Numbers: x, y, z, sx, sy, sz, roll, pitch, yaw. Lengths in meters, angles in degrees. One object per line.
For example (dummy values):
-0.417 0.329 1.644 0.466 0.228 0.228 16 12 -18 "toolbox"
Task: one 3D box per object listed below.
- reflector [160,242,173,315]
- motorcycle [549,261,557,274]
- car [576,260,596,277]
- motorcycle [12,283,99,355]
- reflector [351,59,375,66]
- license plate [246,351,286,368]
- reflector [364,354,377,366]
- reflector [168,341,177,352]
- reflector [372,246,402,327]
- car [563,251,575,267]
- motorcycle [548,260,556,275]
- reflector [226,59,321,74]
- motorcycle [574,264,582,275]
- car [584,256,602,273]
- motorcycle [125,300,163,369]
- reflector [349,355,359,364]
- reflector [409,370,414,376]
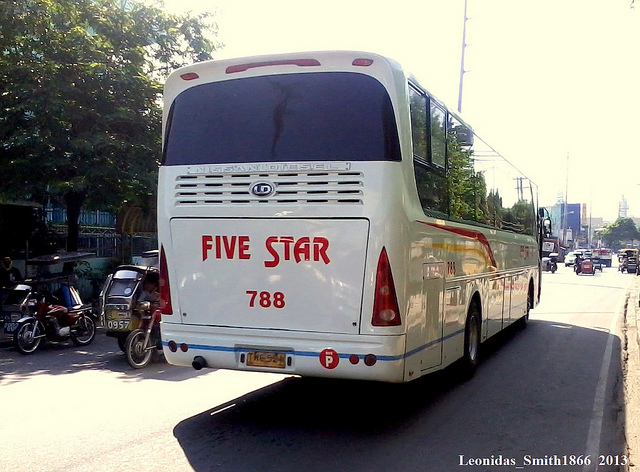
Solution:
-1.918 0.555 5.940 0.224 0.868 0.057 1 1 41 "reflector"
22.856 3.146 47.335 0.945 1.035 0.216 25 -15 -35 "motorcycle"
23.808 2.935 43.246 1.173 1.396 1.681 0 1 18 "car"
-6.133 1.915 11.138 0.944 1.476 2.191 -6 -5 17 "motorcycle"
0.473 -1.942 5.351 0.223 0.075 0.010 0 1 9 "reflector"
-0.612 1.417 5.438 0.465 0.162 0.048 0 1 17 "license plate"
0.535 1.349 5.139 0.133 0.128 0.010 0 1 7 "reflector"
-1.803 1.366 5.849 0.137 0.130 0.013 0 1 27 "reflector"
0.713 0.565 5.182 0.313 0.854 0.061 -1 1 -16 "reflector"
32.312 3.253 62.428 0.852 2.013 5.039 0 1 23 "car"
22.923 3.135 47.436 0.392 1.186 0.783 1 3 -22 "motorcycle"
-0.575 -2.001 5.615 1.181 0.110 0.038 0 1 17 "reflector"
23.577 3.019 44.190 0.355 1.244 0.813 6 -5 30 "motorcycle"
26.357 2.873 46.566 1.316 1.320 2.378 1 7 25 "car"
-3.192 1.827 8.790 0.369 1.228 0.885 0 1 17 "motorcycle"
0.364 1.349 5.173 0.095 0.096 0.004 0 1 12 "reflector"
1.029 1.576 5.451 0.052 0.061 0.023 -5 -17 26 "reflector"
